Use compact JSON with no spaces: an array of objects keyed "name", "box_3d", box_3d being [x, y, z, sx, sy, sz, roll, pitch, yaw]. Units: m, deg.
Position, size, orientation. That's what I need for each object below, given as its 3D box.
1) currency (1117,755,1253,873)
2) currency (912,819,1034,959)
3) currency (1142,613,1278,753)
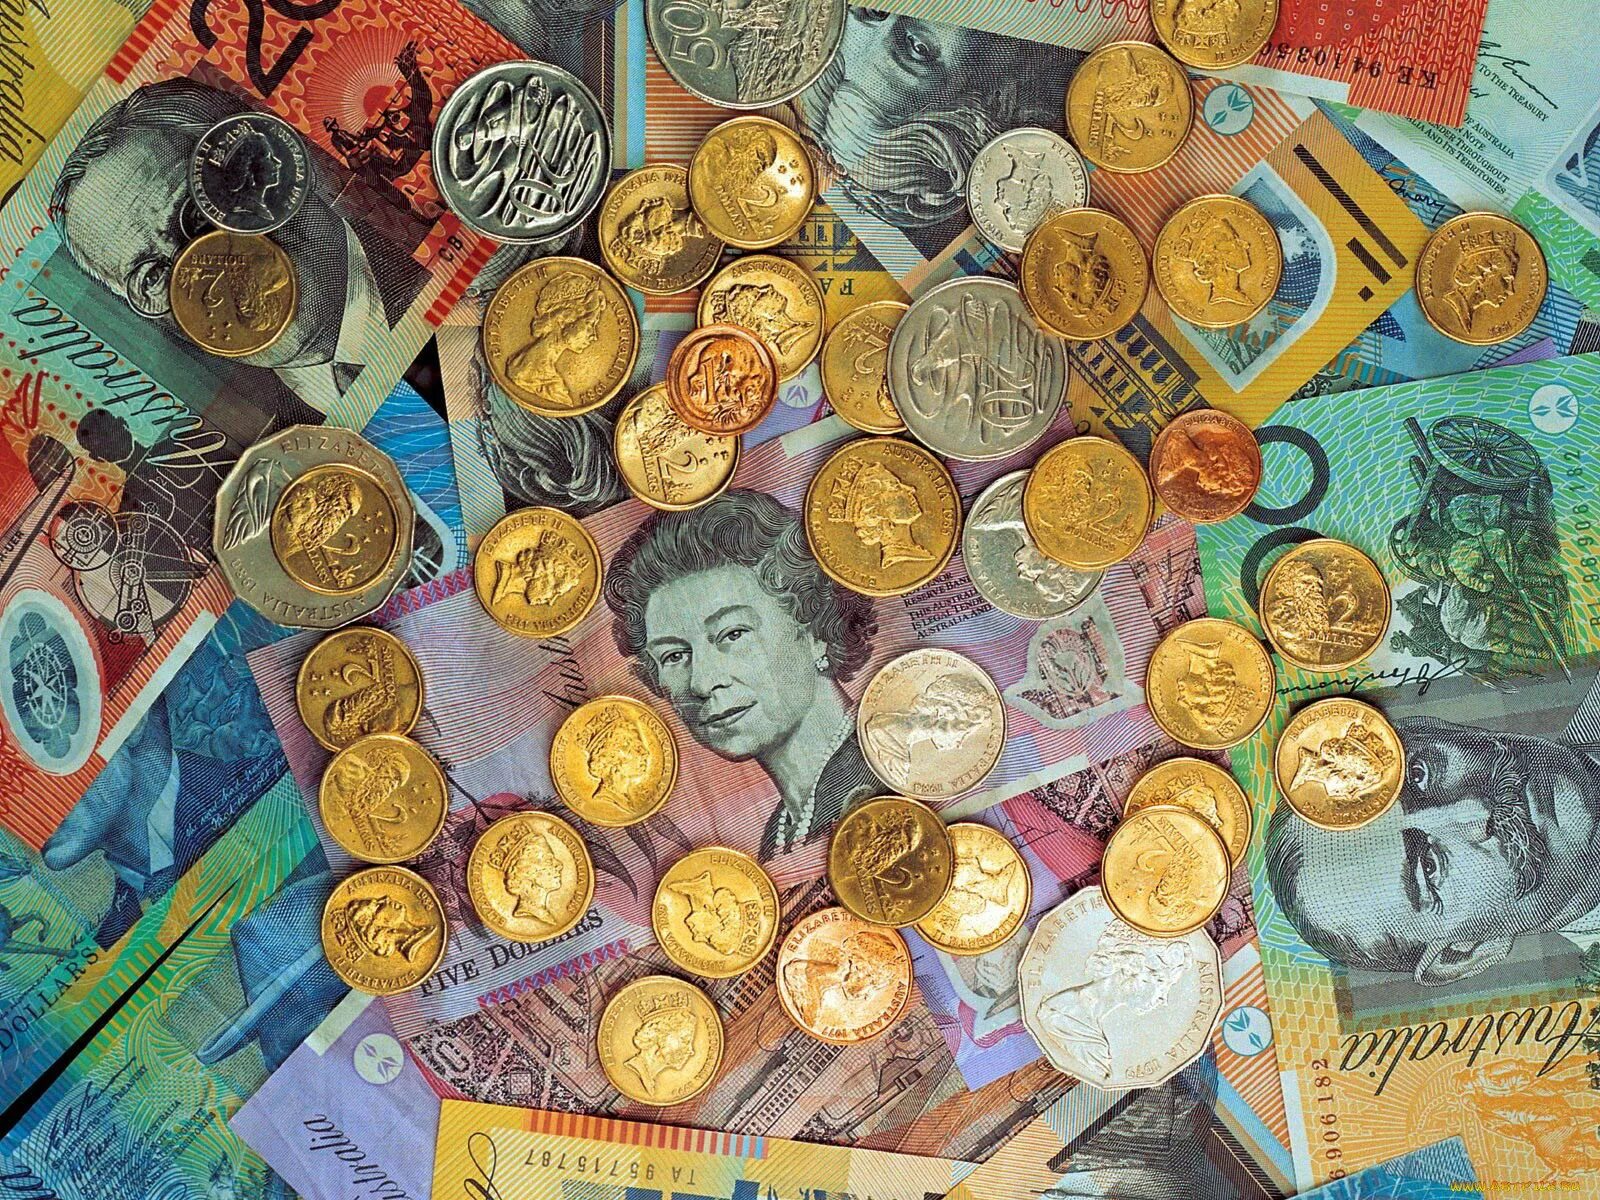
[{"name":"currency","box_3d":[2.190,1.228,9.639,0.682,0.156,0.789,16,-82,23]},{"name":"currency","box_3d":[1.001,1.619,9.631,0.617,0.156,0.728,6,-86,-1]},{"name":"currency","box_3d":[2.253,0.449,9.497,0.684,0.152,0.691,1,-77,3]}]
